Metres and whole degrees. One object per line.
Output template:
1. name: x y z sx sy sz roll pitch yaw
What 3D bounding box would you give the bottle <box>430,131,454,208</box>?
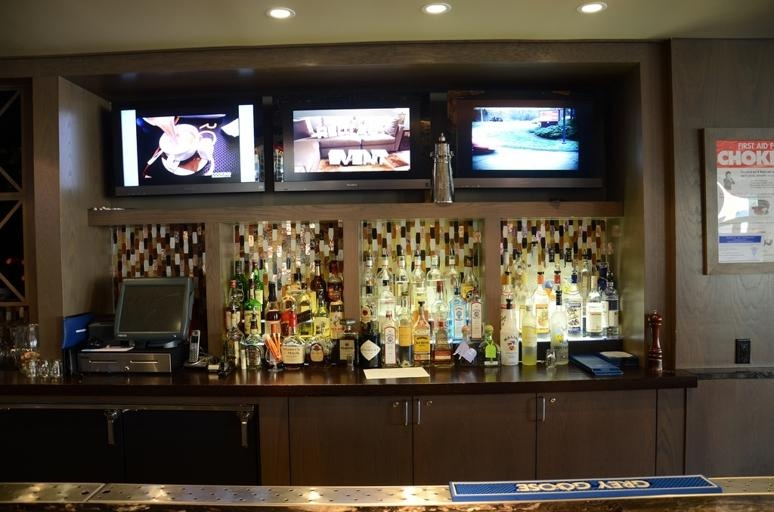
1. bottle: 0.392 -0.590 4.777 0.166 0.480 0.137 2 -4 -24

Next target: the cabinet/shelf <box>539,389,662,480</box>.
1. cabinet/shelf: 1.469 1.344 4.949 0.665 0.762 1.196 -2 -11 5

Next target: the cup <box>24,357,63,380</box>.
1. cup: -2.259 0.751 4.568 0.185 0.104 0.168 1 2 -1

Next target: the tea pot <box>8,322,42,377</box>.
1. tea pot: -2.386 0.625 4.657 0.276 0.314 0.211 -6 -3 9

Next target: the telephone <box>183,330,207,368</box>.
1. telephone: -1.315 0.627 4.734 0.117 0.243 0.174 1 -3 -14

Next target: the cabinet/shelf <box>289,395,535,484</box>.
1. cabinet/shelf: 0.177 1.211 4.548 1.623 0.667 0.416 -2 -17 5

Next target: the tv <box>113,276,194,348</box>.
1. tv: -1.596 0.393 4.816 0.556 0.469 0.286 -1 2 12
